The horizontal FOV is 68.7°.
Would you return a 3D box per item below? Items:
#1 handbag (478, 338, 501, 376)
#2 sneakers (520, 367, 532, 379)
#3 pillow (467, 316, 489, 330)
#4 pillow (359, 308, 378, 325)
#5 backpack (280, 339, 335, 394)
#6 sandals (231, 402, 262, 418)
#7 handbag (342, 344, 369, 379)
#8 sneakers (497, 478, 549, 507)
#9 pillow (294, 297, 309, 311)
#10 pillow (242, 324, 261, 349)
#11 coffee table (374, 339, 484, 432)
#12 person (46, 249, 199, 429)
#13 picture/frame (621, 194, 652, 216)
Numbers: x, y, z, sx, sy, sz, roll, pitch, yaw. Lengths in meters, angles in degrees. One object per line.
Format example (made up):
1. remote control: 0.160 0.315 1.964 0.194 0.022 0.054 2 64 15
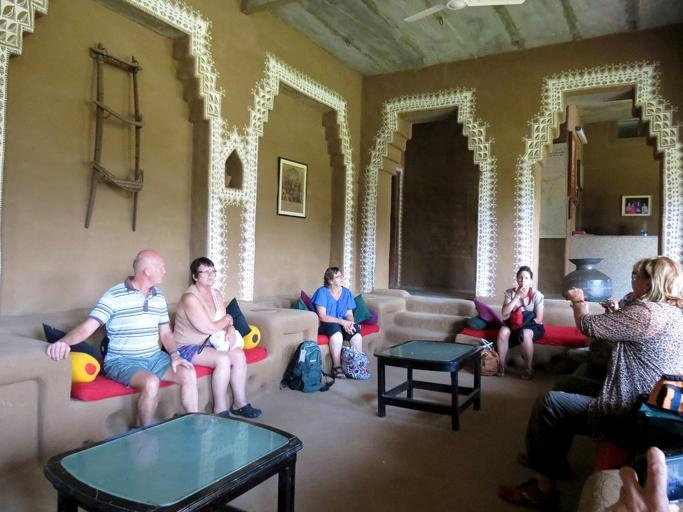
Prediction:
1. handbag: 1.610 1.132 5.461 0.236 0.448 0.452 -5 -16 17
2. sneakers: 1.923 1.245 5.263 0.076 0.159 0.228 -9 -19 28
3. pillow: 1.571 0.781 5.796 0.145 0.162 0.184 -11 -1 25
4. pillow: 0.346 0.705 6.034 0.166 0.172 0.200 -19 3 -38
5. backpack: -0.278 1.029 4.782 0.512 0.475 0.331 -1 11 -35
6. sandals: -0.785 1.243 4.083 0.189 0.081 0.125 1 -3 15
7. handbag: 0.134 1.099 5.172 0.317 0.331 0.239 5 4 18
8. sneakers: 1.121 1.441 3.046 0.242 0.103 0.124 7 1 19
9. pillow: -0.459 0.535 5.445 0.156 0.155 0.046 32 -27 -22
10. pillow: -0.810 0.732 4.516 0.078 0.182 0.141 -4 18 35
11. coffee table: 0.759 1.115 4.386 0.911 0.594 0.950 0 -1 -6
12. person: -1.517 0.663 3.594 1.074 1.315 0.730 1 9 -21
13. picture/frame: 6.246 -1.118 10.556 0.426 0.389 0.033 2 5 28
